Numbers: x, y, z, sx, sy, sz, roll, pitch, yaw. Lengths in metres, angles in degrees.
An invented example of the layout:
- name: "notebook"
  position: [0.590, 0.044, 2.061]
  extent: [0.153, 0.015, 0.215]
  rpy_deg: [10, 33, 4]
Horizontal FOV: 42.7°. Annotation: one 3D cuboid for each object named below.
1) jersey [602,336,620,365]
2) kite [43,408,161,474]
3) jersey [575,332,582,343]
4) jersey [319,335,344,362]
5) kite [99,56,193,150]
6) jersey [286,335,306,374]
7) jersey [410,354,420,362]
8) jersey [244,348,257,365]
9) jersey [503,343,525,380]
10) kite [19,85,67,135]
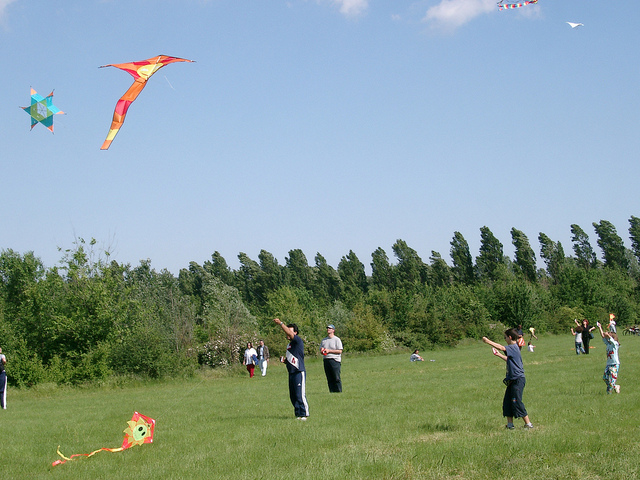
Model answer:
- name: "jersey"
  position: [13.569, 5.003, 38.055]
  extent: [0.582, 1.181, 1.853]
  rpy_deg: [-1, -1, 18]
- name: "kite"
  position: [-8.316, 8.501, 32.656]
  extent: [3.694, 1.980, 2.079]
  rpy_deg: [-14, 21, -29]
- name: "jersey"
  position: [17.348, 6.424, 54.981]
  extent: [0.332, 0.704, 0.801]
  rpy_deg: [-1, -1, 11]
- name: "jersey"
  position: [0.383, 4.971, 40.360]
  extent: [1.494, 1.849, 0.961]
  rpy_deg: [0, -12, 4]
- name: "kite"
  position: [-7.568, -5.669, 33.472]
  extent: [2.562, 3.854, 1.683]
  rpy_deg: [0, -2, -44]
- name: "jersey"
  position: [-1.066, 4.901, 35.292]
  extent: [0.858, 1.757, 1.453]
  rpy_deg: [-3, -7, -14]
- name: "jersey"
  position: [7.178, 8.724, 61.749]
  extent: [0.601, 0.747, 0.602]
  rpy_deg: [-4, 2, -4]
- name: "jersey"
  position: [-4.680, 7.829, 56.003]
  extent: [1.019, 1.083, 0.856]
  rpy_deg: [-1, -1, -32]
- name: "jersey"
  position: [7.684, 4.802, 32.364]
  extent: [0.845, 1.516, 1.373]
  rpy_deg: [2, -7, 18]
- name: "kite"
  position: [-11.972, -5.863, 34.301]
  extent: [1.866, 0.728, 1.933]
  rpy_deg: [-12, 21, 31]
